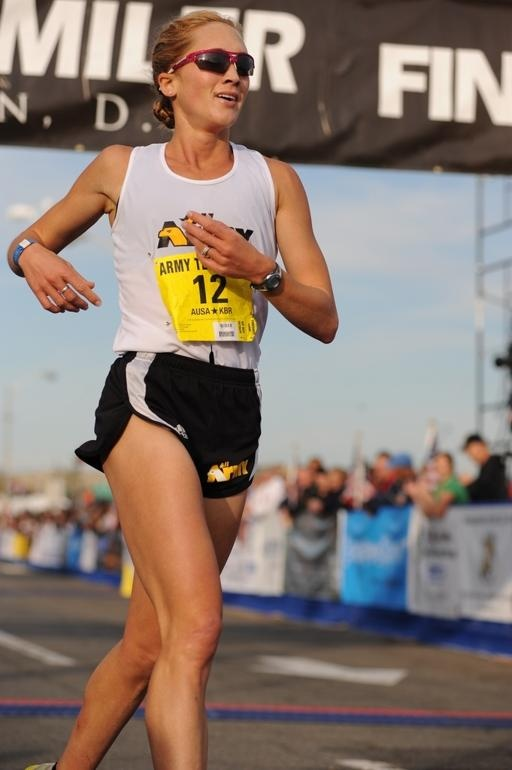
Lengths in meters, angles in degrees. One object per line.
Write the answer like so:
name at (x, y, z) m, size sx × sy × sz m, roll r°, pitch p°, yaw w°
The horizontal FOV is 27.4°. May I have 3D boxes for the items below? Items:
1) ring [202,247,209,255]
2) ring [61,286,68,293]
ring at (-0.118, -0.305, 2.478) m, size 0.012 × 0.015 × 0.017 m, roll -14°, pitch -17°, yaw 10°
ring at (-0.492, -0.236, 2.720) m, size 0.016 × 0.013 × 0.004 m, roll 7°, pitch -16°, yaw -17°
